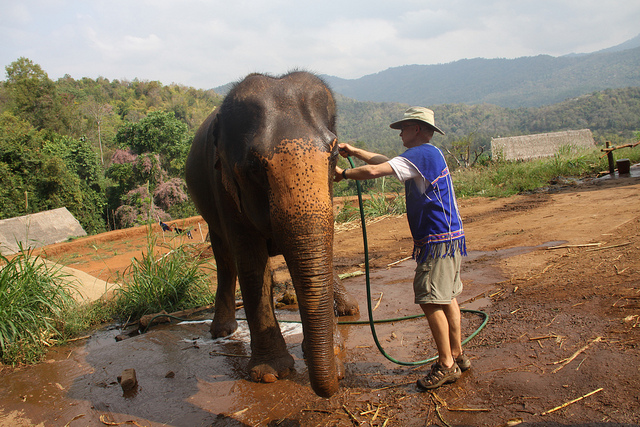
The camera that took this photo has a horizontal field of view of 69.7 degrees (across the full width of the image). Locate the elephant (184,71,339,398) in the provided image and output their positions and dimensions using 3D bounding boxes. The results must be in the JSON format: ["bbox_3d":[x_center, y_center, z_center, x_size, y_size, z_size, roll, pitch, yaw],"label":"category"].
[{"bbox_3d":[-0.547,0.199,5.457,1.954,3.563,2.091,1,-1,-6],"label":"elephant"}]

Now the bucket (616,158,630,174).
[{"bbox_3d":[9.358,-1.405,14.044,0.320,0.451,0.436,-5,10,31],"label":"bucket"}]
